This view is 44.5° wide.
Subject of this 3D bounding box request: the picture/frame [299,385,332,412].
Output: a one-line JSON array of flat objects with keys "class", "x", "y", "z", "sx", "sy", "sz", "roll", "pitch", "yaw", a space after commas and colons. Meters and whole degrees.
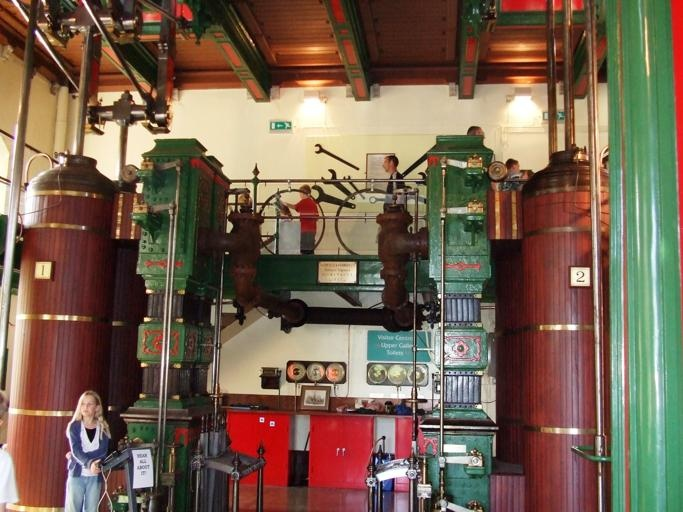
[{"class": "picture/frame", "x": -0.416, "y": 2.337, "z": 13.690, "sx": 0.402, "sy": 0.042, "sz": 0.376, "roll": 2, "pitch": 52, "yaw": 2}]
